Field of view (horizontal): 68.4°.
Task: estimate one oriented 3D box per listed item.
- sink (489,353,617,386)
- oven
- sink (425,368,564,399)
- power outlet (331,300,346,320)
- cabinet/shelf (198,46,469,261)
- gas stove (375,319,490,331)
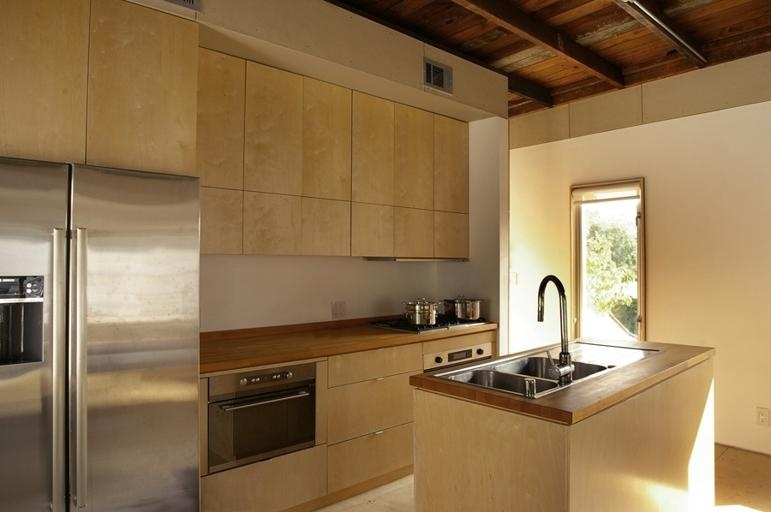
[{"bbox_3d":[0.959,0.722,3.566,0.496,0.208,0.325,2,-5,-45],"label":"sink"},{"bbox_3d":[-0.933,1.119,4.071,0.919,0.721,0.606,-3,1,-38],"label":"oven"},{"bbox_3d":[0.751,0.747,3.349,0.292,0.125,0.366,0,-1,-39],"label":"sink"},{"bbox_3d":[-0.423,0.474,5.006,0.023,0.174,0.176,-7,-7,44],"label":"power outlet"},{"bbox_3d":[-0.471,-0.831,4.496,1.914,0.916,0.243,4,-7,-38],"label":"cabinet/shelf"},{"bbox_3d":[0.420,0.607,4.926,1.029,0.067,0.500,-1,-3,-6],"label":"gas stove"}]
